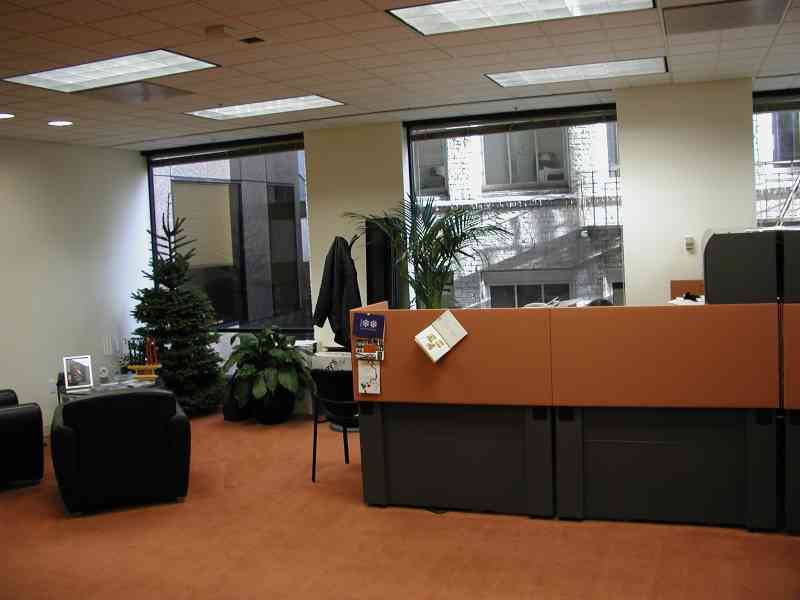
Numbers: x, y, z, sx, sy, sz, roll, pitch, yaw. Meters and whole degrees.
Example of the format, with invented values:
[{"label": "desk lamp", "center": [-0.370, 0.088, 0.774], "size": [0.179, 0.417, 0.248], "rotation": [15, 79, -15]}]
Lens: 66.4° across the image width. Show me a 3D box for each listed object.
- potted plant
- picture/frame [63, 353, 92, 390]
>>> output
[{"label": "potted plant", "center": [-1.696, 0.972, 7.791], "size": [1.246, 1.214, 1.153], "rotation": [-1, -2, 18]}, {"label": "picture/frame", "center": [-3.328, 0.753, 6.293], "size": [0.387, 0.382, 0.308], "rotation": [0, -2, -19]}]
